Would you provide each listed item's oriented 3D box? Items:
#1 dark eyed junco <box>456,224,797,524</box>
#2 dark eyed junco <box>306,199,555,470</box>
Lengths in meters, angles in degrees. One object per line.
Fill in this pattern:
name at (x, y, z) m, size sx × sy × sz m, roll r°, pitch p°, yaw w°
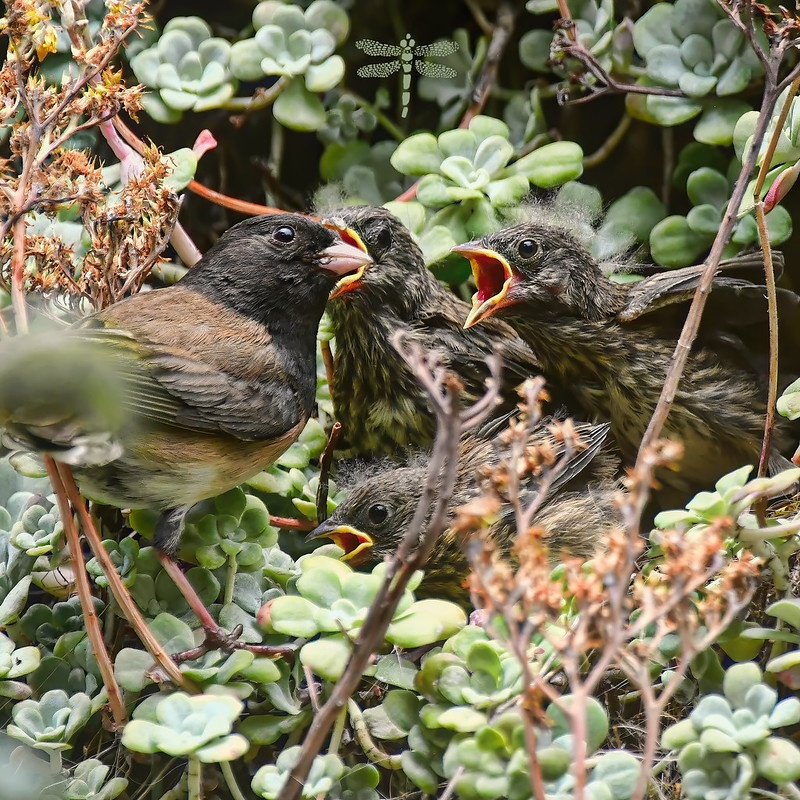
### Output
dark eyed junco at (0.267, -0.051, 1.356) m, size 0.584 × 0.290 × 0.293 m, roll -7°, pitch 86°, yaw -14°
dark eyed junco at (-0.038, -0.088, 1.531) m, size 0.349 × 0.450 × 0.354 m, roll 3°, pitch 97°, yaw 16°
